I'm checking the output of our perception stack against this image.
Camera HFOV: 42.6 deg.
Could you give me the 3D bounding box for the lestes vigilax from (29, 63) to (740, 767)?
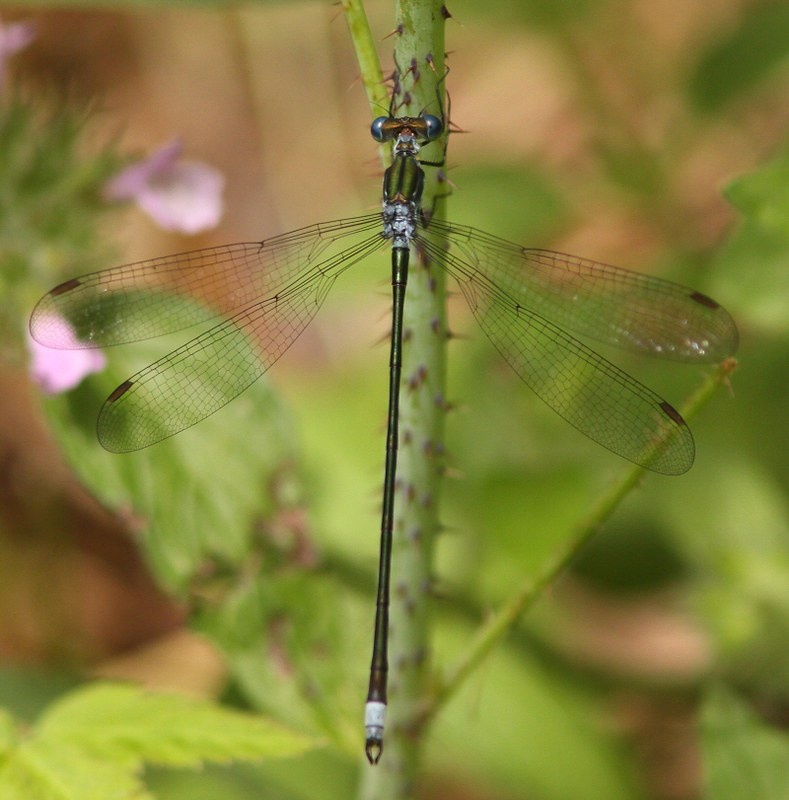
[{"bbox_3d":[-0.006,0.072,1.975,1.588,0.169,1.276,2,-95,3],"label":"lestes vigilax"}]
